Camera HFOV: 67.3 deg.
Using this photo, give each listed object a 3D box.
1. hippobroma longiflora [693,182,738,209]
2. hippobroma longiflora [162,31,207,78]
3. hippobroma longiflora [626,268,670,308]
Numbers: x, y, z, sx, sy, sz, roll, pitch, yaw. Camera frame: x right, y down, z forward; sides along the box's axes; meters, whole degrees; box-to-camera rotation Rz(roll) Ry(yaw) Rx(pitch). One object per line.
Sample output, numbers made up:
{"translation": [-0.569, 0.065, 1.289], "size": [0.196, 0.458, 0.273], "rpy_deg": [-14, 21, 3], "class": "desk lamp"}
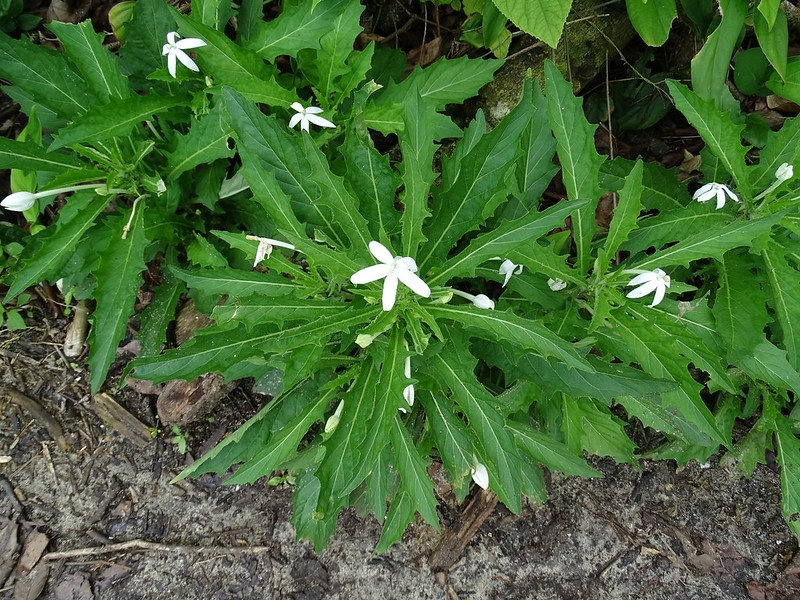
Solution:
{"translation": [1.740, -0.572, 3.296], "size": [0.166, 0.177, 0.087], "rpy_deg": [15, 92, 20], "class": "hippobroma longiflora"}
{"translation": [-1.220, -1.348, 3.268], "size": [0.278, 0.094, 0.251], "rpy_deg": [7, 104, 35], "class": "hippobroma longiflora"}
{"translation": [1.261, -0.077, 3.094], "size": [0.205, 0.120, 0.193], "rpy_deg": [20, 111, -7], "class": "hippobroma longiflora"}
